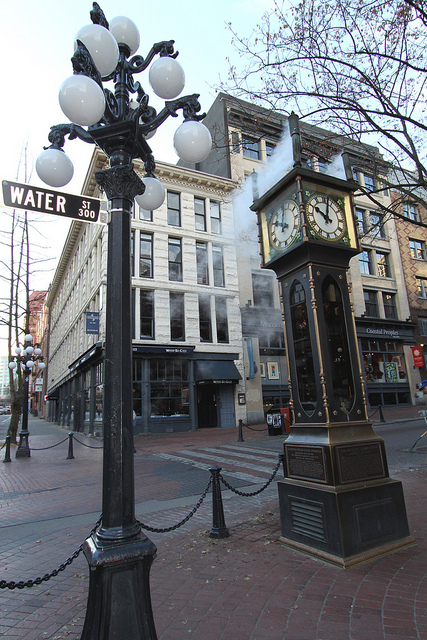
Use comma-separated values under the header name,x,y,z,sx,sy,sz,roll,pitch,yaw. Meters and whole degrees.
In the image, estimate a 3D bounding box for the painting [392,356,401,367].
name,x,y,z,sx,sy,sz,roll,pitch,yaw
painting,12.719,2.942,30.046,0.777,1.085,0.113,3,-26,-10

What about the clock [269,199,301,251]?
name,x,y,z,sx,sy,sz,roll,pitch,yaw
clock,0.864,-1.177,5.299,0.040,0.605,0.603,2,-8,-31

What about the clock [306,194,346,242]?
name,x,y,z,sx,sy,sz,roll,pitch,yaw
clock,1.335,-1.222,5.100,0.609,0.629,0.048,6,-15,-24

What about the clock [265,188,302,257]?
name,x,y,z,sx,sy,sz,roll,pitch,yaw
clock,0.869,-1.196,5.264,0.053,0.777,0.752,6,-21,-18

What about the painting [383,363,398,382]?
name,x,y,z,sx,sy,sz,roll,pitch,yaw
painting,12.225,3.638,29.507,1.131,1.315,0.215,5,-14,-42

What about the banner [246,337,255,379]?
name,x,y,z,sx,sy,sz,roll,pitch,yaw
banner,2.054,2.178,24.550,0.404,2.378,0.389,-5,-10,3

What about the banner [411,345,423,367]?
name,x,y,z,sx,sy,sz,roll,pitch,yaw
banner,14.291,2.628,30.330,0.069,1.636,0.811,8,-31,-20
